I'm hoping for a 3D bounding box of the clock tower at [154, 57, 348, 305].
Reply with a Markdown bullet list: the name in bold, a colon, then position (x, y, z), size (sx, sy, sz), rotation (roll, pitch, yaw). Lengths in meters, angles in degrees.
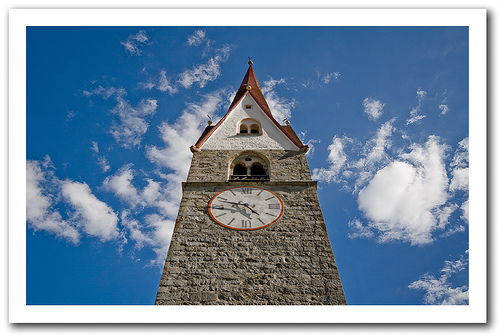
- **clock tower**: position (0.021, 1.317, 21.219), size (5.321, 6.659, 7.400), rotation (-1, -6, -1)
